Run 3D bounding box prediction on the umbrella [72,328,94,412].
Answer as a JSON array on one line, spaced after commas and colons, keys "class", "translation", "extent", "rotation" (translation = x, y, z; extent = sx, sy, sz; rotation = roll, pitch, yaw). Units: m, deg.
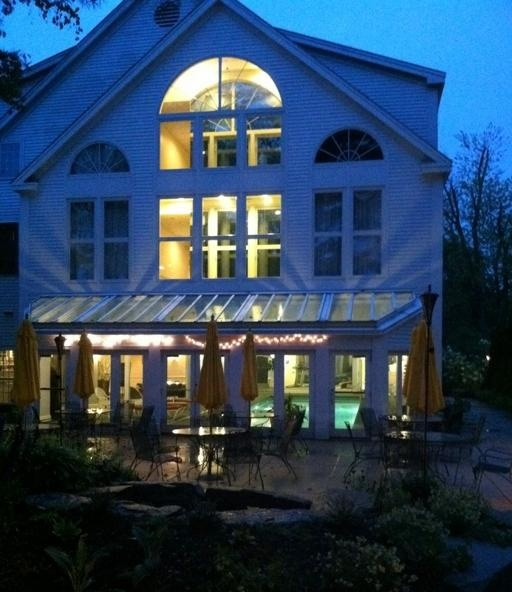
[{"class": "umbrella", "translation": [-3.530, 1.643, 16.348], "extent": [0.400, 1.666, 0.666], "rotation": [-4, 13, -13]}]
